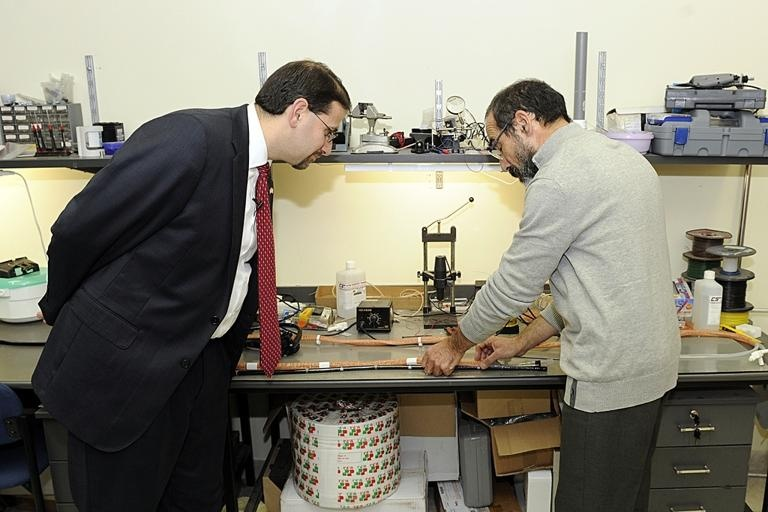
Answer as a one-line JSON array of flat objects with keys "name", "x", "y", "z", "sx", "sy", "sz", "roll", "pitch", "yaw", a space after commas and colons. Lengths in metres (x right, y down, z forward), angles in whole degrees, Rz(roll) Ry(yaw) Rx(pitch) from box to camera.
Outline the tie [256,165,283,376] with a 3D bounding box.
[{"name": "tie", "x": -0.518, "y": 0.082, "z": 2.821, "sx": 0.133, "sy": 0.839, "sz": 0.157, "roll": -8, "pitch": 19, "yaw": -33}]

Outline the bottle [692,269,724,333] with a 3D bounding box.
[{"name": "bottle", "x": 1.734, "y": 0.225, "z": 3.349, "sx": 0.144, "sy": 0.308, "sz": 0.190, "roll": 5, "pitch": 11, "yaw": 29}]

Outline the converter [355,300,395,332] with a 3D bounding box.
[{"name": "converter", "x": -0.056, "y": 0.317, "z": 3.447, "sx": 0.199, "sy": 0.147, "sz": 0.194, "roll": -1, "pitch": 10, "yaw": 1}]

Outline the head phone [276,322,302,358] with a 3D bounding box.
[{"name": "head phone", "x": -0.462, "y": 0.420, "z": 3.174, "sx": 0.065, "sy": 0.141, "sz": 0.181, "roll": 21, "pitch": 53, "yaw": 13}]
